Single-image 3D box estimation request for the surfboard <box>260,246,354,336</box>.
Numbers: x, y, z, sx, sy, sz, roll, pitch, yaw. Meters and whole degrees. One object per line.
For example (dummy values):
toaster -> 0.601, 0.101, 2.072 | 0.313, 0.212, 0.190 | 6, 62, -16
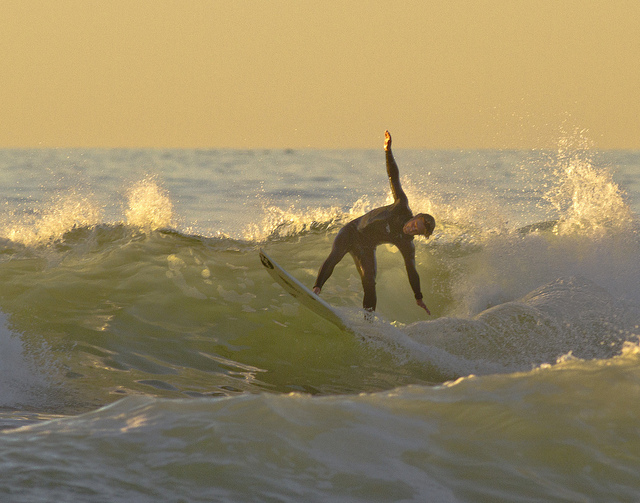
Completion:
surfboard -> -0.135, 0.479, 11.527 | 0.201, 1.479, 0.108 | -49, 11, 42
